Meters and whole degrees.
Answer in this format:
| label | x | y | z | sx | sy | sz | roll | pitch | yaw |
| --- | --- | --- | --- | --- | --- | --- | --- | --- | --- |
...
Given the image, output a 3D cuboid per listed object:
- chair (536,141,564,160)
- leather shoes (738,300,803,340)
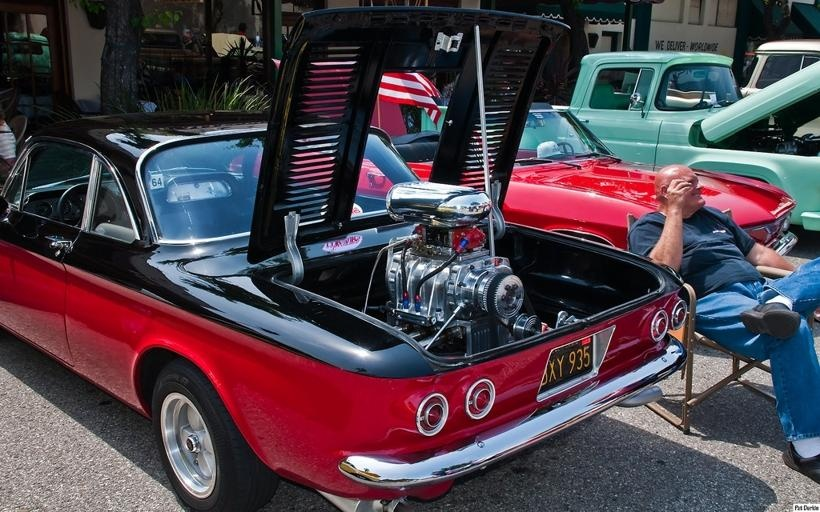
| label | x | y | z | sx | sy | sz | roll | pitch | yaw |
| --- | --- | --- | --- | --- | --- | --- | --- | --- | --- |
| chair | 1.747 | -1.308 | 6.868 | 0.333 | 0.153 | 0.225 | -8 | 9 | -22 |
| leather shoes | 2.441 | 0.437 | 3.811 | 0.405 | 0.178 | 0.184 | 2 | 25 | 41 |
